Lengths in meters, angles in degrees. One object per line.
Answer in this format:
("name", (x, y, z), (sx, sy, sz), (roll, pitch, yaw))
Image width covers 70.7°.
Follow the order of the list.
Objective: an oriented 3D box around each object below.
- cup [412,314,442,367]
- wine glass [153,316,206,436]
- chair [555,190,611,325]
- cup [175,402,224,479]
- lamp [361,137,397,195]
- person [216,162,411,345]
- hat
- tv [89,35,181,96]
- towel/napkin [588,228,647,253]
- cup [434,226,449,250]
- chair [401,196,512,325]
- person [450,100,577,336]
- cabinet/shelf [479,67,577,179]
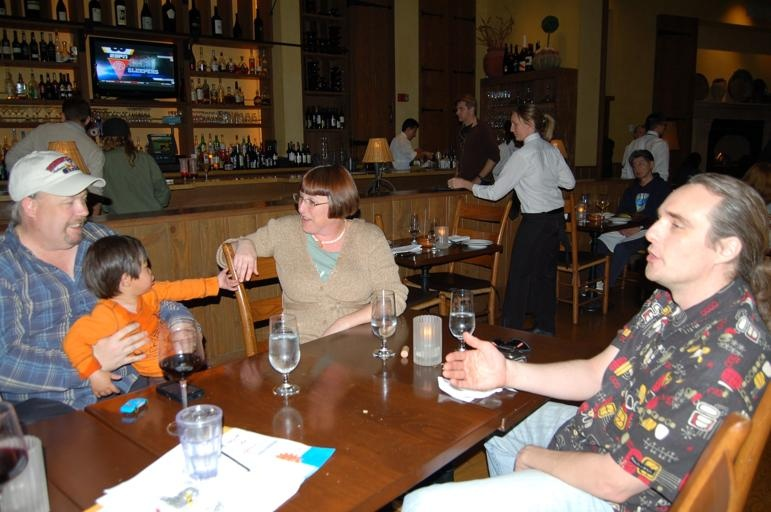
("cup", (0.164, 0.326, 2.062), (0.122, 0.189, 0.133), (4, -29, 2))
("wine glass", (-0.673, 0.396, 1.828), (0.159, 0.374, 0.143), (-8, 10, -32))
("chair", (1.694, -0.024, 5.055), (0.599, 1.165, 0.544), (-15, 13, -32))
("cup", (-0.514, 0.528, 1.488), (0.124, 0.154, 0.122), (-4, -10, -1))
("lamp", (-0.069, -0.867, 5.453), (0.330, 0.601, 0.315), (-9, 11, -44))
("person", (-0.352, 0.036, 2.659), (0.971, 0.871, 0.569), (3, 21, 0))
("hat", (-1.366, -0.327, 2.251), (0.302, 0.149, 0.201), (-4, 15, -4))
("tv", (-2.935, -2.190, 6.256), (0.762, 0.521, 0.101), (-6, 11, -35))
("towel/napkin", (2.262, -0.159, 5.243), (0.598, 0.180, 0.469), (-16, 20, -42))
("cup", (0.419, -0.125, 3.982), (0.142, 0.163, 0.143), (1, 3, 0))
("chair", (0.538, 0.143, 4.229), (0.745, 1.116, 0.613), (-3, 8, -28))
("person", (1.065, -0.251, 4.468), (1.012, 1.891, 0.738), (-5, 16, -4))
("cabinet/shelf", (2.018, -1.974, 7.750), (0.392, 1.329, 1.357), (-17, 21, -35))
